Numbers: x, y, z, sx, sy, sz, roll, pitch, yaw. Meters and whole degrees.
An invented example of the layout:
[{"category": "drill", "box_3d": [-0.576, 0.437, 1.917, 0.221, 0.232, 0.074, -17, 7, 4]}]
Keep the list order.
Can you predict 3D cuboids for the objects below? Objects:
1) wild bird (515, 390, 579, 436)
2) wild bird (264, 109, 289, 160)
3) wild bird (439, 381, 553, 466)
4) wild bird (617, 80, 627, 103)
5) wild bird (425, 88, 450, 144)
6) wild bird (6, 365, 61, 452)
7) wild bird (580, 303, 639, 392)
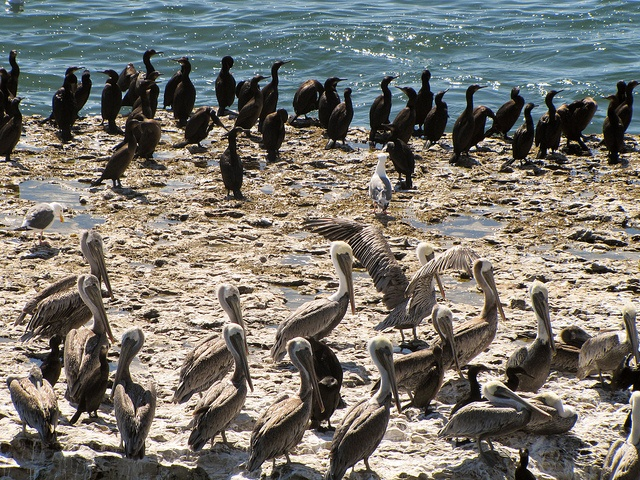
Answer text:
[{"category": "wild bird", "box_3d": [3.587, 2.900, 22.511, 1.195, 0.638, 0.462, 12, 22, 31]}, {"category": "wild bird", "box_3d": [-1.045, -2.257, 30.095, 0.472, 0.990, 0.615, 0, 14, -3]}, {"category": "wild bird", "box_3d": [2.837, 2.844, 22.294, 2.338, 1.248, 0.816, 1, 0, 2]}, {"category": "wild bird", "box_3d": [7.352, -3.574, 33.127, 0.214, 0.581, 0.257, 2, 14, -5]}, {"category": "wild bird", "box_3d": [2.659, -2.752, 31.491, 0.529, 1.268, 0.782, 2, 14, 4]}, {"category": "wild bird", "box_3d": [-4.875, 2.649, 22.111, 0.560, 0.819, 1.438, -7, 33, -42]}, {"category": "wild bird", "box_3d": [5.013, 1.827, 23.470, 1.171, 1.305, 0.411, -7, 17, -28]}]
